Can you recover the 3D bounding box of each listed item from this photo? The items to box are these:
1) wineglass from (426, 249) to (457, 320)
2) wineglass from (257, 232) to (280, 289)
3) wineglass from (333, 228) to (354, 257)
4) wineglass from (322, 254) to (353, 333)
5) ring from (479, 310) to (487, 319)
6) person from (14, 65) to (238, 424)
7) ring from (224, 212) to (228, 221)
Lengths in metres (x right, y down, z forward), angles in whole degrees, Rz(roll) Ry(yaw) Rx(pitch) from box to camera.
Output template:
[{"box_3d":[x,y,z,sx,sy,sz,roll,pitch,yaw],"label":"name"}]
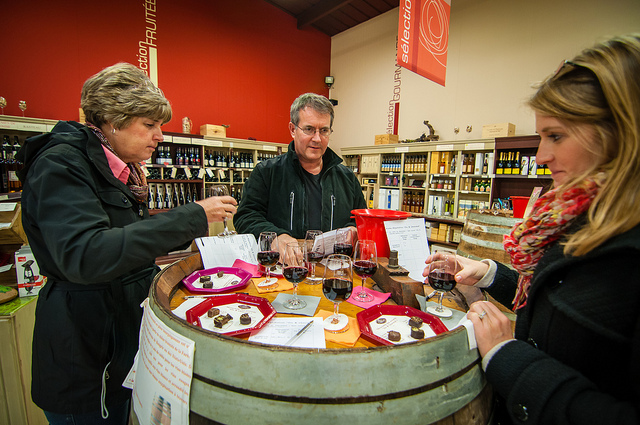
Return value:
[{"box_3d":[0.645,0.374,2.110,0.151,0.267,0.375,6,12,20],"label":"wineglass"},{"box_3d":[-0.309,0.289,2.428,0.119,0.305,0.121,3,2,8],"label":"wineglass"},{"box_3d":[0.154,0.202,2.579,0.130,0.206,0.137,4,3,36],"label":"wineglass"},{"box_3d":[0.091,0.385,2.055,0.146,0.283,0.438,2,11,2],"label":"wineglass"},{"box_3d":[0.749,0.470,1.818,0.043,0.025,0.014,-7,14,-38],"label":"ring"},{"box_3d":[-1.117,0.239,2.115,0.813,2.051,0.596,-6,12,-36],"label":"person"},{"box_3d":[-0.542,0.022,2.278,0.019,0.052,0.052,-1,11,-16],"label":"ring"}]
